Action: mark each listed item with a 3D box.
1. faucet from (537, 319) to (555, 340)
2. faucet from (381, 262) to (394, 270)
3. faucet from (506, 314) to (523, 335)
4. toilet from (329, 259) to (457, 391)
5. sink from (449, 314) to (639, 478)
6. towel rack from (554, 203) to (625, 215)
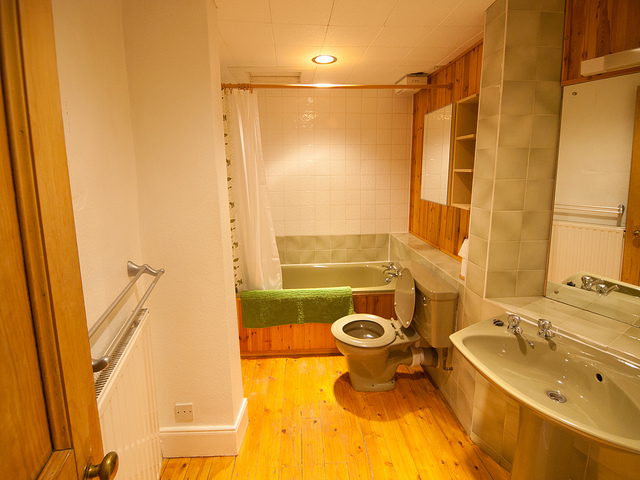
[{"bbox_3d":[1.055,0.421,2.262,0.062,0.103,0.100,2,12,18],"label":"faucet"},{"bbox_3d":[0.559,0.213,3.831,0.084,0.078,0.060,-2,-9,-1],"label":"faucet"},{"bbox_3d":[0.960,0.423,2.355,0.064,0.117,0.066,3,23,24],"label":"faucet"},{"bbox_3d":[0.471,0.625,3.406,0.731,0.966,0.818,-2,12,-11],"label":"toilet"},{"bbox_3d":[1.071,0.730,2.221,0.422,0.695,0.625,-11,22,-19],"label":"sink"},{"bbox_3d":[1.348,-0.151,2.303,0.089,0.059,0.370,-11,8,-34],"label":"towel rack"}]
